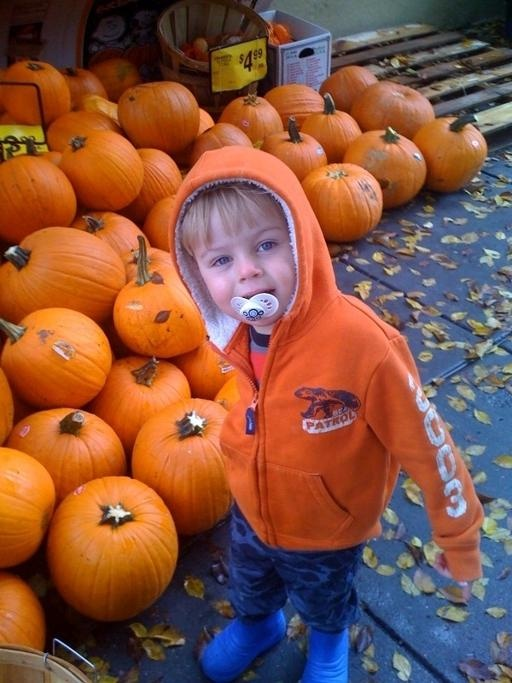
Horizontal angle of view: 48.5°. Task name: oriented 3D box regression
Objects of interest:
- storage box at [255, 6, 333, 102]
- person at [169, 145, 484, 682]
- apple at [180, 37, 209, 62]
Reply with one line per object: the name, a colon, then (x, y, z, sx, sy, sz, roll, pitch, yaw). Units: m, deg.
storage box: (0.355, -2.246, 4.695, 0.784, 0.459, 0.738, -4, 50, 4)
person: (0.138, 0.326, 1.313, 0.744, 1.440, 0.350, 19, 32, 36)
apple: (-0.428, -2.116, 4.139, 0.150, 0.172, 0.293, -22, 39, -33)
